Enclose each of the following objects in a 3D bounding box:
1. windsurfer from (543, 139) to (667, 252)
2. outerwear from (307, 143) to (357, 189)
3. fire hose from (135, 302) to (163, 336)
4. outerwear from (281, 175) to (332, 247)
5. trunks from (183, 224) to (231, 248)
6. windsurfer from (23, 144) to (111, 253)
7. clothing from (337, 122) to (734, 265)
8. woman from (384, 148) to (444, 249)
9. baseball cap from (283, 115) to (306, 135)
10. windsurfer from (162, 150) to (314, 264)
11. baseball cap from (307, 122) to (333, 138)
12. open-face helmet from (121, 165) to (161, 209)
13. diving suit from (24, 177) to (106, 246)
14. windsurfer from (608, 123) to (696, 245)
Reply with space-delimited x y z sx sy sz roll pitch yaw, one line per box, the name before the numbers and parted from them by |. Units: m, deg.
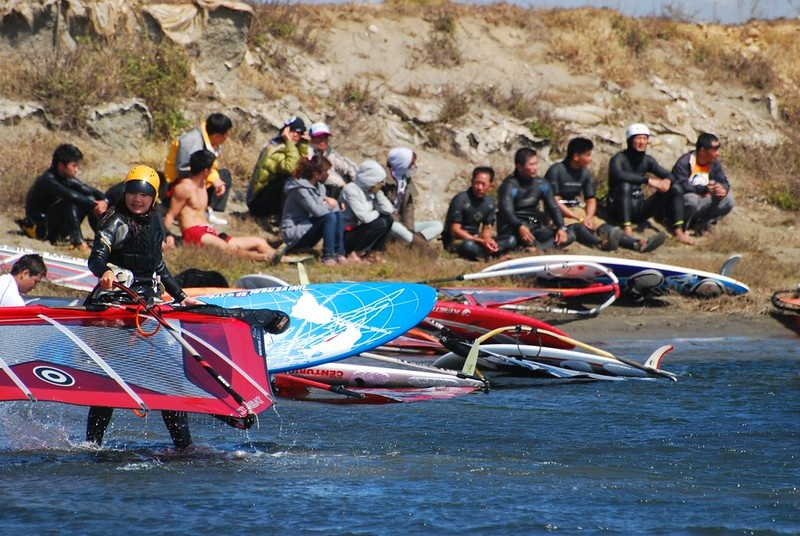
windsurfer | 3.669 -1.297 31.877 1.434 1.680 2.587 1 15 -30
outerwear | -1.121 -1.903 31.646 0.705 0.339 0.911 -27 43 -35
fire hose | -3.532 0.704 24.623 0.459 0.406 0.105 21 -32 -38
outerwear | -1.676 -1.010 29.810 1.232 1.088 0.884 -1 12 2
trunks | -3.266 -0.542 29.647 0.721 0.289 0.374 -1 6 6
windsurfer | -5.637 -1.182 29.524 1.773 1.539 1.180 2 16 -7
clothing | 3.595 -1.305 33.000 2.974 1.945 4.137 0 1 -28
woman | 0.102 -1.308 30.918 1.281 1.617 1.180 -4 18 -33
baseball cap | -1.838 -2.529 30.809 0.327 0.252 0.363 10 15 13
windsurfer | -2.712 -0.958 29.508 2.403 1.553 1.067 19 15 24
baseball cap | -1.402 -2.429 30.819 0.353 0.264 0.331 3 15 -11
open-face helmet | -3.631 -1.200 24.995 0.458 0.546 0.567 18 0 -2
diving suit | -5.714 -1.041 29.396 1.565 1.208 0.969 -1 22 10
windsurfer | 4.662 -1.614 32.433 1.771 1.997 2.123 6 9 3
